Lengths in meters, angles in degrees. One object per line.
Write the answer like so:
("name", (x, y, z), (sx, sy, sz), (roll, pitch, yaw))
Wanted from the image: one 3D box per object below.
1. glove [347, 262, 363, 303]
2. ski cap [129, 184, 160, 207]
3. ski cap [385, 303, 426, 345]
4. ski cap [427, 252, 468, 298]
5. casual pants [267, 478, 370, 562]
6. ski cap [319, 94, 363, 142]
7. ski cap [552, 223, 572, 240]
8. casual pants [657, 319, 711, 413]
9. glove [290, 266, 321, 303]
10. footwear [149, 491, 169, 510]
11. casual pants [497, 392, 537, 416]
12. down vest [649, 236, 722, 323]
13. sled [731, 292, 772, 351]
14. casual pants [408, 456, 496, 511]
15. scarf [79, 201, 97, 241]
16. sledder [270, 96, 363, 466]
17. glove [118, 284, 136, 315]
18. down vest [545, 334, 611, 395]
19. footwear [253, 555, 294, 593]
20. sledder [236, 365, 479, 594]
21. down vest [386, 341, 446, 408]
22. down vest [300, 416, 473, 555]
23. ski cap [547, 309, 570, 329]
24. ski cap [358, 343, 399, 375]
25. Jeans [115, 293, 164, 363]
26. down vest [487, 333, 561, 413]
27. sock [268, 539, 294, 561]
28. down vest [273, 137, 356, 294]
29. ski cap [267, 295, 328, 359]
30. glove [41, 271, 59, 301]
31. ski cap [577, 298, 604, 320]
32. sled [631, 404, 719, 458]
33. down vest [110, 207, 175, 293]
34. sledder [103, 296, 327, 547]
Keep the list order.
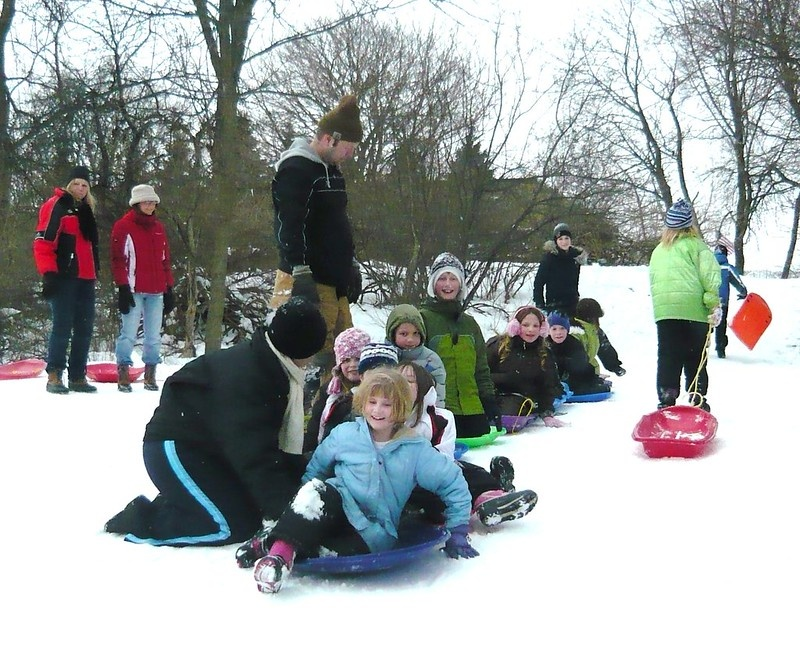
("glove", (-0.300, -0.293, 5.538), (0.082, 0.207, 0.140), (14, 15, 36))
("ski cap", (-2.024, -1.078, 7.229), (0.204, 0.154, 0.221), (-3, 6, -1))
("ski cap", (0.031, -0.044, 5.670), (0.202, 0.242, 0.232), (-1, -2, -5))
("ski cap", (0.322, -0.456, 6.343), (0.263, 0.302, 0.248), (-4, 6, -45))
("casual pants", (-0.361, 0.853, 4.025), (0.414, 0.294, 0.175), (46, -12, -23))
("ski cap", (-0.311, -1.258, 5.352), (0.270, 0.246, 0.209), (12, 18, 6))
("ski cap", (1.667, -1.031, 9.380), (0.167, 0.171, 0.204), (1, 2, 6))
("casual pants", (2.043, 0.171, 6.513), (0.376, 0.938, 0.285), (13, 40, 29))
("glove", (-0.512, -0.271, 5.090), (0.204, 0.241, 0.057), (3, -6, -27))
("footwear", (-1.079, 0.769, 4.110), (0.070, 0.074, 0.018), (18, -13, 34))
("casual pants", (0.828, 0.524, 6.484), (0.201, 0.165, 0.206), (5, 1, -17))
("down vest", (1.981, -0.356, 6.388), (0.478, 0.598, 0.348), (5, 15, 18))
("sled", (3.878, -0.102, 10.099), (0.142, 0.477, 0.579), (-17, -31, -32))
("casual pants", (0.303, 0.800, 4.711), (0.368, 0.174, 0.274), (-21, 16, -23))
("scarf", (-2.354, -0.831, 6.900), (0.060, 0.262, 0.191), (-7, -2, 17))
("sledder", (-0.483, -0.295, 5.389), (0.526, 2.108, 0.485), (-1, -1, -25))
("glove", (-2.090, -0.241, 6.989), (0.135, 0.201, 0.064), (-7, 2, -44))
("down vest", (1.412, 0.272, 7.382), (0.326, 0.537, 0.295), (-30, 7, -24))
("footwear", (-0.521, 0.977, 3.714), (0.112, 0.162, 0.146), (5, -12, -7))
("sledder", (-0.171, 0.617, 4.073), (1.006, 0.949, 0.815), (2, 0, 3))
("down vest", (0.125, 0.206, 5.484), (0.450, 0.493, 0.293), (-4, -4, -1))
("down vest", (-0.112, 0.727, 4.155), (0.814, 0.605, 0.487), (10, 12, 18))
("ski cap", (1.275, -0.101, 7.394), (0.131, 0.147, 0.193), (2, 5, 9))
("ski cap", (-0.111, 0.137, 4.756), (0.176, 0.154, 0.138), (-2, 12, -6))
("Jeans", (-2.032, -0.087, 7.186), (0.312, 0.804, 0.225), (3, 21, -24))
("down vest", (0.884, 0.328, 6.670), (0.420, 0.647, 0.598), (1, -8, -2))
("sock", (-0.492, 0.918, 3.827), (0.081, 0.089, 0.086), (3, 23, 28))
("down vest", (-0.473, -0.646, 5.294), (0.495, 0.899, 0.359), (-4, 14, -17))
("ski cap", (-0.469, -0.008, 4.194), (0.197, 0.290, 0.261), (4, -12, -1))
("glove", (-2.555, -0.329, 6.653), (0.123, 0.187, 0.053), (6, -9, -35))
("ski cap", (1.629, -0.180, 7.903), (0.147, 0.185, 0.209), (-9, -11, 17))
("sled", (1.682, 0.623, 5.630), (0.485, 0.154, 0.668), (6, 16, 19))
("down vest", (-2.052, -0.612, 7.208), (0.210, 0.659, 0.567), (6, 15, 22))
("sledder", (-0.889, 0.449, 4.449), (0.958, 1.217, 0.796), (3, -6, 13))
